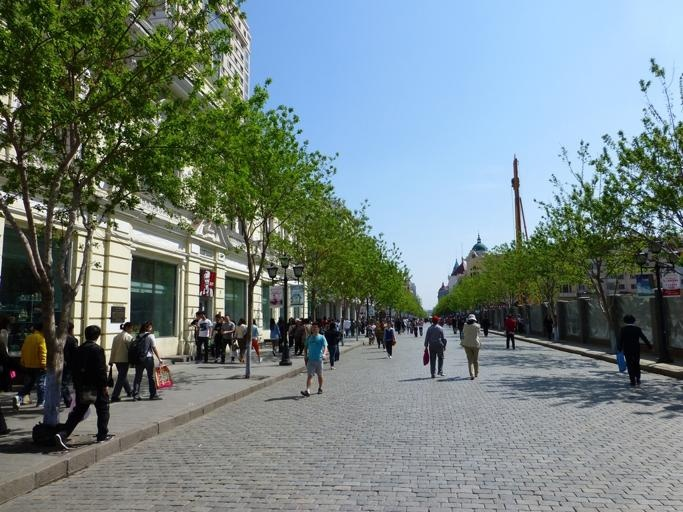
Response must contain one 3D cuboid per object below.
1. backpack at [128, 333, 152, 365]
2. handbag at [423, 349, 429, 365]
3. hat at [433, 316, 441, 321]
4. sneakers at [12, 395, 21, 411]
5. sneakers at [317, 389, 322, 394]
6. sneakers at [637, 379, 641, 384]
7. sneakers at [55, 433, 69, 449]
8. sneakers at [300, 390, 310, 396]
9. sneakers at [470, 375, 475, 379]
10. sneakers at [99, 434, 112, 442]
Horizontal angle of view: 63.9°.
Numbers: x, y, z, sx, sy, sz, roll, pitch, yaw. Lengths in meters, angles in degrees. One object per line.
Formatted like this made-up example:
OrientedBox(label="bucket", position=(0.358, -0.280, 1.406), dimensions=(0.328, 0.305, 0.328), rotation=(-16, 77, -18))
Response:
OrientedBox(label="backpack", position=(-5.016, 2.299, 13.628), dimensions=(0.457, 0.784, 0.492), rotation=(22, 26, 38))
OrientedBox(label="handbag", position=(2.586, 3.083, 16.887), dimensions=(0.187, 0.411, 0.837), rotation=(-4, -12, 9))
OrientedBox(label="hat", position=(3.200, 2.146, 18.781), dimensions=(0.219, 0.121, 0.344), rotation=(-3, 0, 10))
OrientedBox(label="sneakers", position=(-7.356, 3.303, 12.327), dimensions=(0.086, 0.321, 0.112), rotation=(1, 12, 0))
OrientedBox(label="sneakers", position=(-0.626, 3.698, 15.053), dimensions=(0.069, 0.111, 0.229), rotation=(0, -24, -5))
OrientedBox(label="sneakers", position=(8.468, 3.571, 15.665), dimensions=(0.110, 0.184, 0.096), rotation=(0, -13, 0))
OrientedBox(label="sneakers", position=(-4.603, 3.001, 8.947), dimensions=(0.072, 0.232, 0.083), rotation=(-20, 6, -1))
OrientedBox(label="sneakers", position=(-0.986, 3.611, 14.500), dimensions=(0.214, 0.154, 0.340), rotation=(-2, -12, -5))
OrientedBox(label="sneakers", position=(4.009, 3.713, 16.876), dimensions=(0.091, 0.139, 0.127), rotation=(3, -3, -10))
OrientedBox(label="sneakers", position=(-4.071, 3.101, 9.401), dimensions=(0.214, 0.113, 0.078), rotation=(-3, 2, -44))
